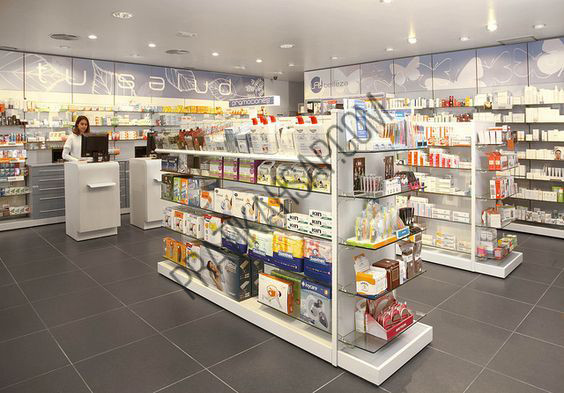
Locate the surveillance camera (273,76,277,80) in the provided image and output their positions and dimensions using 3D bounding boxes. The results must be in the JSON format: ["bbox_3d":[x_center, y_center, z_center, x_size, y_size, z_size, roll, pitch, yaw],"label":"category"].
[{"bbox_3d":[-0.224,-4.113,12.771,0.089,0.070,0.088,3,11,22],"label":"surveillance camera"}]

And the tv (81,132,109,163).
[{"bbox_3d":[-3.746,-0.979,7.367,0.527,0.602,0.220,-8,27,-40],"label":"tv"}]
